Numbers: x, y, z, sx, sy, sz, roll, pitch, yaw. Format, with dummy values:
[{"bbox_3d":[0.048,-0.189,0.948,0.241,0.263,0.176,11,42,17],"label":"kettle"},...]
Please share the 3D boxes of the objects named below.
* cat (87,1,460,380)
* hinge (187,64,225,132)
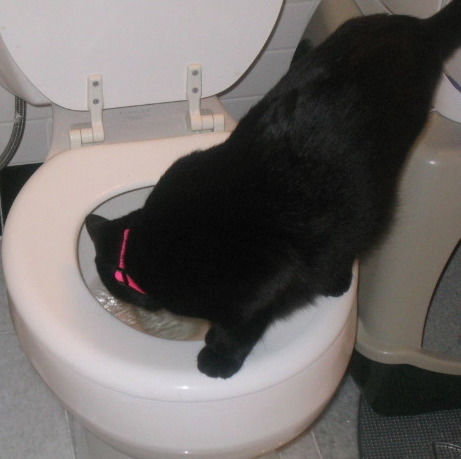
[{"bbox_3d":[0.038,-0.062,0.612,0.458,0.359,0.297,-10,29,-8],"label":"cat"},{"bbox_3d":[-0.045,-0.227,0.851,0.043,0.107,0.052,-21,39,-26],"label":"hinge"}]
